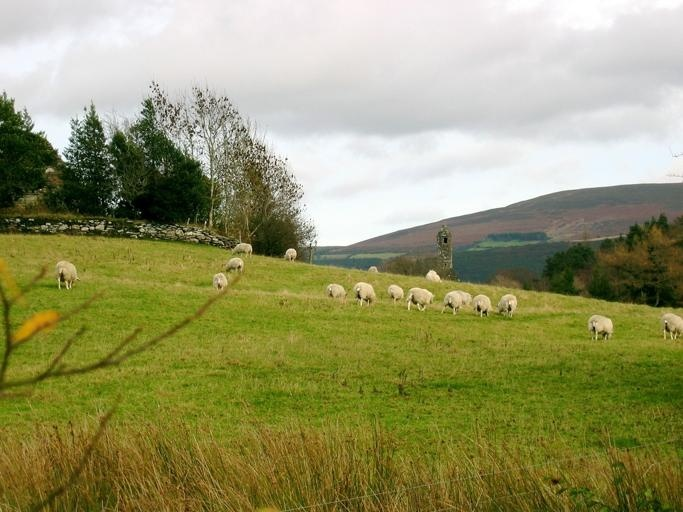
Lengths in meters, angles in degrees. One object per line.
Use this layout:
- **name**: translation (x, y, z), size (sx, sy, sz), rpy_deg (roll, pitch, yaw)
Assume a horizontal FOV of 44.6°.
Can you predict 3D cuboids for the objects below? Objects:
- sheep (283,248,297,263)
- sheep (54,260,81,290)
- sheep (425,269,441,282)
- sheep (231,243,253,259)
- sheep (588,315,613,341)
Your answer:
- **sheep**: translation (-3.337, -0.079, 54.509), size (0.485, 0.989, 1.661), rpy_deg (1, -7, -6)
- **sheep**: translation (-12.092, 0.781, 36.686), size (0.847, 1.235, 1.300), rpy_deg (-3, 13, -22)
- **sheep**: translation (5.912, 1.321, 54.662), size (0.650, 1.355, 2.220), rpy_deg (3, -1, 11)
- **sheep**: translation (-5.950, -0.434, 49.999), size (0.881, 0.883, 2.042), rpy_deg (-4, 14, -26)
- **sheep**: translation (11.683, 3.280, 37.499), size (0.970, 0.967, 1.547), rpy_deg (4, 12, 12)
